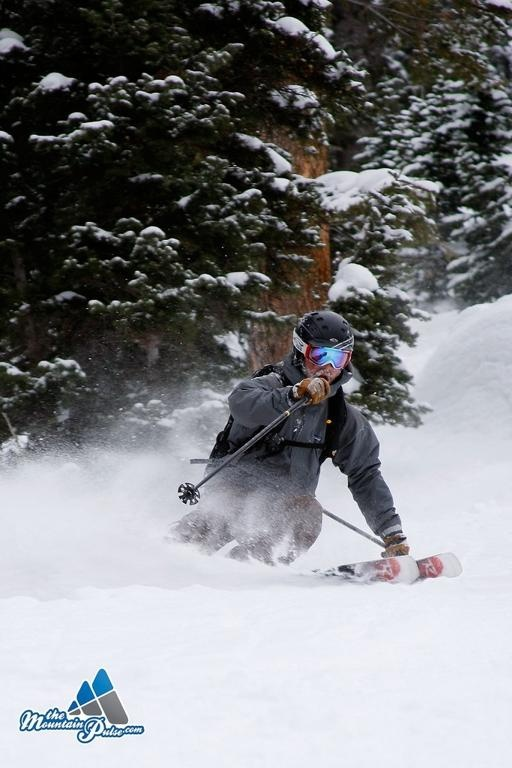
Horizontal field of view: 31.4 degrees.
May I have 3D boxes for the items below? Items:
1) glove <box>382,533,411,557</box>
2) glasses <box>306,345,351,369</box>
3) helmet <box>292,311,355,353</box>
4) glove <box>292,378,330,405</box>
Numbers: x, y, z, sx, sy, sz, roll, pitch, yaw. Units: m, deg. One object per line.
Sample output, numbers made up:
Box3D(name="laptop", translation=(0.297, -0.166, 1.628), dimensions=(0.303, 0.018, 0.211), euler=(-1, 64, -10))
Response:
Box3D(name="glove", translation=(0.928, 1.092, 6.163), dimensions=(0.150, 0.201, 0.177), euler=(4, 72, -43))
Box3D(name="glasses", translation=(0.506, -0.180, 6.340), dimensions=(0.201, 0.081, 0.193), euler=(8, 3, -25))
Box3D(name="helmet", translation=(0.451, -0.348, 6.442), dimensions=(0.321, 0.346, 0.351), euler=(9, 1, -5))
Box3D(name="glove", translation=(0.375, 0.053, 6.020), dimensions=(0.184, 0.089, 0.210), euler=(11, -4, -8))
